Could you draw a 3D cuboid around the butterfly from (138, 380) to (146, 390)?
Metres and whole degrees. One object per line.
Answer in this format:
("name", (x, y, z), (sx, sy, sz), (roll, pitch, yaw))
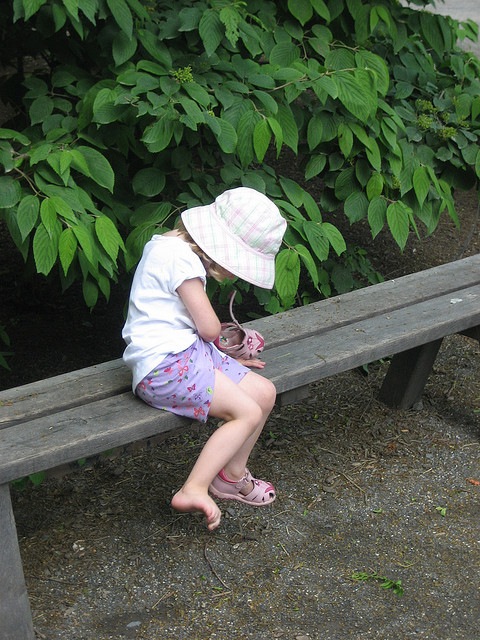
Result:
("butterfly", (-0.241, 0.160, 1.453), (0.021, 0.022, 0.004), (35, 37, 27))

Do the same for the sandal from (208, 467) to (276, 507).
("sandal", (0.032, 0.528, 1.861), (0.213, 0.079, 0.094), (-2, 0, 28))

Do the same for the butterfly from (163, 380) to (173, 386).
("butterfly", (-0.175, 0.152, 1.439), (0.027, 0.006, 0.006), (-28, 15, -20))

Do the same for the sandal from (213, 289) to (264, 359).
("sandal", (0.000, 0.064, 1.732), (0.133, 0.099, 0.109), (20, 32, 7))

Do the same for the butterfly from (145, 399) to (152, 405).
("butterfly", (-0.228, 0.204, 1.472), (0.017, 0.007, 0.021), (12, 2, 8))

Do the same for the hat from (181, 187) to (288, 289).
("hat", (-0.019, -0.219, 1.545), (0.272, 0.223, 0.215), (9, 33, -12))

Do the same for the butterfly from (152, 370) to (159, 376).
("butterfly", (-0.206, 0.129, 1.446), (0.014, 0.008, 0.013), (10, 31, -8))

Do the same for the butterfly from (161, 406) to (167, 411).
("butterfly", (-0.189, 0.218, 1.459), (0.011, 0.002, 0.008), (0, 58, -11))

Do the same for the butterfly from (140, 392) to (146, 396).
("butterfly", (-0.242, 0.185, 1.471), (0.012, 0.007, 0.003), (10, 8, 38))
